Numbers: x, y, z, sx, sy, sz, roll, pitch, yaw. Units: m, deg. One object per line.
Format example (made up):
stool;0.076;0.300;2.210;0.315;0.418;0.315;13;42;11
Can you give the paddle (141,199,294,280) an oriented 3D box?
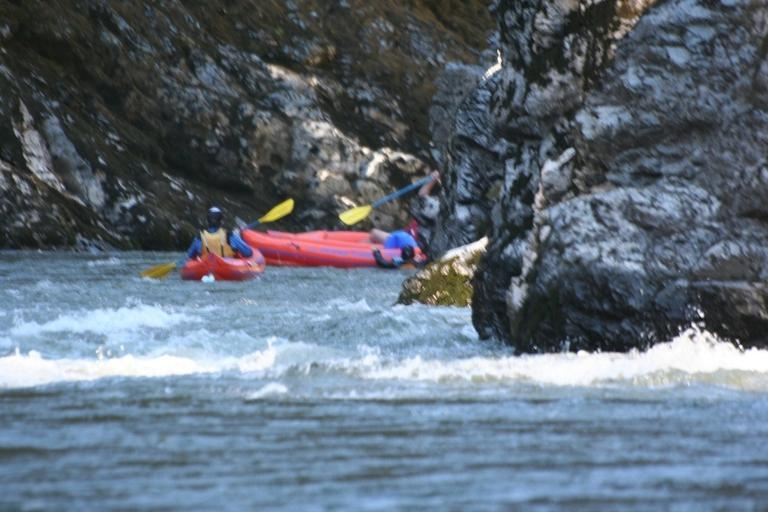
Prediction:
paddle;-5.197;-0.497;53.963;5.495;0.588;0.283;-29;-5;-26

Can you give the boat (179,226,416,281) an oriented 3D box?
boat;-1.994;-0.092;54.732;9.512;2.176;4.265;1;-1;-18
